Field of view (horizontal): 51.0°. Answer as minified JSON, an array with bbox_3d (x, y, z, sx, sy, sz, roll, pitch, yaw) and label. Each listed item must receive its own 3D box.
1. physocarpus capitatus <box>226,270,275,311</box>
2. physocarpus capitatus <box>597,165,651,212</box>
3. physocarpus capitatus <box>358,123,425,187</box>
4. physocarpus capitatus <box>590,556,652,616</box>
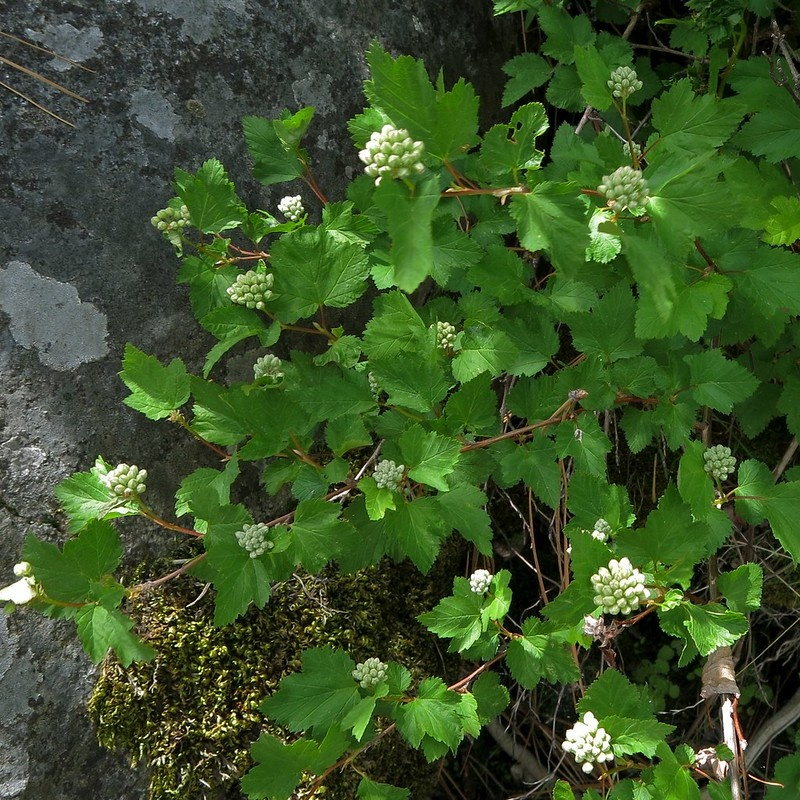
[{"bbox_3d":[-0.445,-0.336,2.551,0.134,0.075,0.110,-8,56,6],"label":"physocarpus capitatus"},{"bbox_3d":[0.566,-0.522,2.098,0.121,0.119,0.112,6,98,23],"label":"physocarpus capitatus"},{"bbox_3d":[-0.011,-0.548,1.956,0.165,0.112,0.151,4,79,13],"label":"physocarpus capitatus"},{"bbox_3d":[0.562,0.470,2.135,0.153,0.079,0.142,-4,81,1],"label":"physocarpus capitatus"}]
